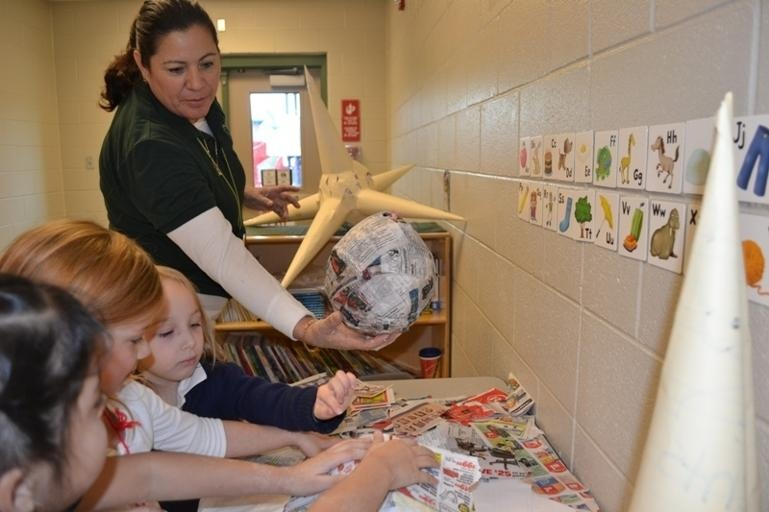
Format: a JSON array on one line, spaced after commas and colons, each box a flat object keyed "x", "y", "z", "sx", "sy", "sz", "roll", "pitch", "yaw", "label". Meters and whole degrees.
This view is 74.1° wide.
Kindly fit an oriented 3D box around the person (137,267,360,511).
[{"x": -0.353, "y": 0.339, "z": 1.297, "sx": 0.756, "sy": 0.288, "sz": 0.419, "roll": -5, "pitch": 24, "yaw": 25, "label": "person"}]

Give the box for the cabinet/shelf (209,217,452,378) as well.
[{"x": -0.157, "y": 0.308, "z": 2.383, "sx": 0.923, "sy": 0.817, "sz": 0.347, "roll": -2, "pitch": -6, "yaw": 8, "label": "cabinet/shelf"}]

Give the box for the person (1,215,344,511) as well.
[{"x": -0.498, "y": 0.141, "z": 1.085, "sx": 0.797, "sy": 0.454, "sz": 0.270, "roll": 11, "pitch": 11, "yaw": 29, "label": "person"}]

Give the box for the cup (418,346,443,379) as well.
[{"x": 0.214, "y": 0.495, "z": 2.376, "sx": 0.127, "sy": 0.130, "sz": 0.129, "roll": 0, "pitch": 4, "yaw": 0, "label": "cup"}]

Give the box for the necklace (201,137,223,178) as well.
[{"x": -0.532, "y": -0.301, "z": 1.587, "sx": 0.012, "sy": 0.145, "sz": 0.045, "roll": 30, "pitch": 61, "yaw": 35, "label": "necklace"}]
